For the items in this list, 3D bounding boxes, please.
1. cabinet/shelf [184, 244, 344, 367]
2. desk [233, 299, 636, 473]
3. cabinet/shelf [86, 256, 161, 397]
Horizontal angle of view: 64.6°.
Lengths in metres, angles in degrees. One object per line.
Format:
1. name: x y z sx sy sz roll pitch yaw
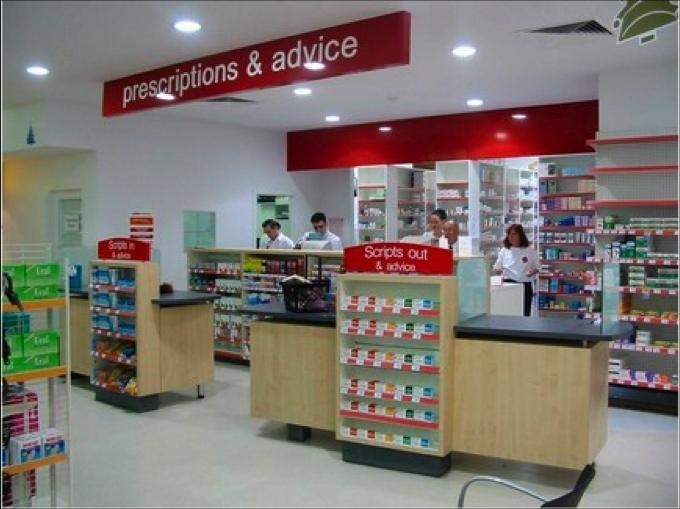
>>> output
1. cabinet/shelf: -0.905 0.616 6.416 1.858 1.283 0.594 1 0 30
2. desk: 0.723 1.147 4.865 3.259 1.313 1.054 2 4 28
3. cabinet/shelf: -2.482 0.842 6.213 0.993 1.541 0.421 3 5 39
